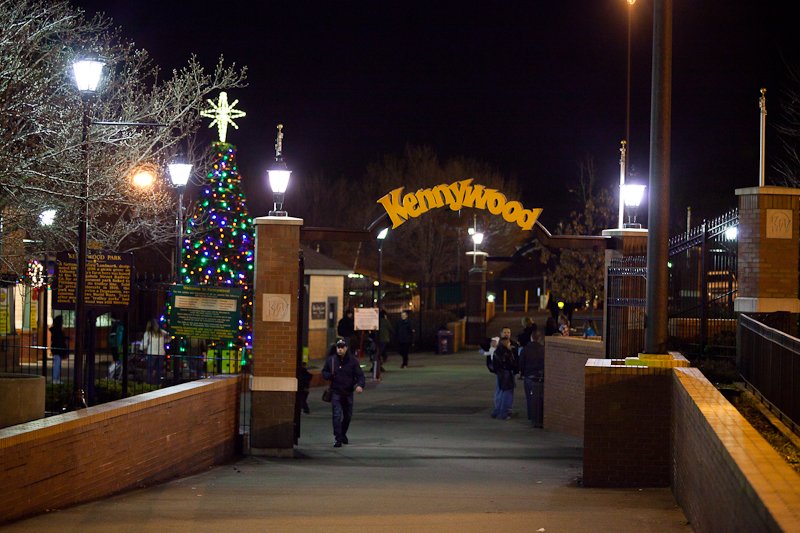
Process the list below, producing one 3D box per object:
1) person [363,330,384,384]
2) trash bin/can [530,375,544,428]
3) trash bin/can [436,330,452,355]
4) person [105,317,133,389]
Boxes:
[{"bbox_3d":[-0.786,2.910,27.911,0.584,1.860,0.705,15,-27,-29],"label":"person"},{"bbox_3d":[3.257,3.211,19.548,0.281,1.151,0.619,-1,-4,8],"label":"trash bin/can"},{"bbox_3d":[1.953,3.382,36.916,0.802,1.147,0.790,1,-5,-10],"label":"trash bin/can"},{"bbox_3d":[-7.348,2.114,21.432,0.556,2.269,0.488,0,31,-21],"label":"person"}]
